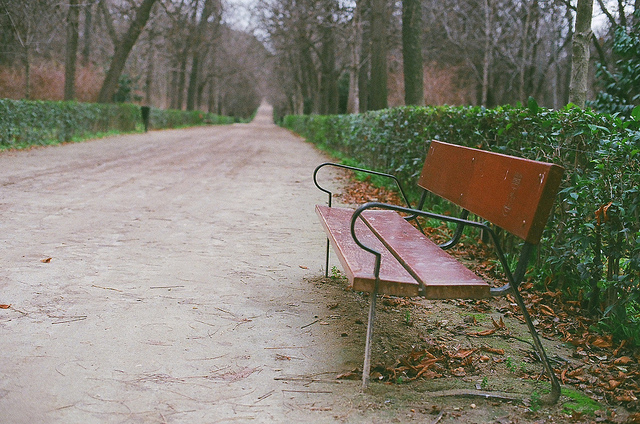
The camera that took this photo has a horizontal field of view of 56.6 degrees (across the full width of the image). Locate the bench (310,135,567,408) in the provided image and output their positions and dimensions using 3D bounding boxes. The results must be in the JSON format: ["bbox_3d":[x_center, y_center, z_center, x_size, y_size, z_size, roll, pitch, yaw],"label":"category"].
[{"bbox_3d":[1.232,0.374,7.975,2.292,2.329,4.599,0,10,-3],"label":"bench"}]
